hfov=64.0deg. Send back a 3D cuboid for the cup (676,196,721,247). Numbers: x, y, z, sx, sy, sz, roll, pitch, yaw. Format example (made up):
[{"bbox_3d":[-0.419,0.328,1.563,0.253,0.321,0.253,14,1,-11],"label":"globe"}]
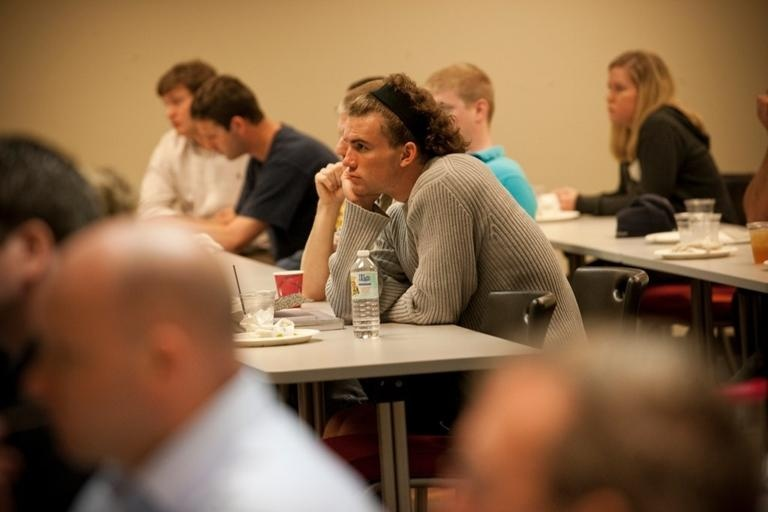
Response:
[{"bbox_3d":[1.309,-0.134,2.550,0.168,0.218,0.213,0,-5,-9],"label":"cup"}]

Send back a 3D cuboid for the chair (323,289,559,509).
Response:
[{"bbox_3d":[0.114,0.332,2.043,0.646,0.946,0.531,2,1,-22],"label":"chair"}]

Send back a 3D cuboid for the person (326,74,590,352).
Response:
[{"bbox_3d":[0.218,-0.093,2.149,0.880,1.042,0.602,-8,-1,-11],"label":"person"}]

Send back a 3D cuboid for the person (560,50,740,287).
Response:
[{"bbox_3d":[1.347,-0.445,3.141,0.699,1.097,0.567,7,19,35],"label":"person"}]

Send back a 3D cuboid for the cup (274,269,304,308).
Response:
[{"bbox_3d":[-0.320,0.111,2.101,0.111,0.130,0.122,-1,-3,0],"label":"cup"}]

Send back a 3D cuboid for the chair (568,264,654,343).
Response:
[{"bbox_3d":[0.532,0.100,1.469,0.186,0.241,0.202,0,-4,-5],"label":"chair"}]
